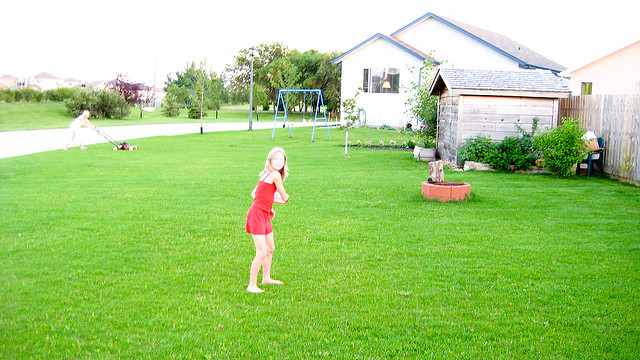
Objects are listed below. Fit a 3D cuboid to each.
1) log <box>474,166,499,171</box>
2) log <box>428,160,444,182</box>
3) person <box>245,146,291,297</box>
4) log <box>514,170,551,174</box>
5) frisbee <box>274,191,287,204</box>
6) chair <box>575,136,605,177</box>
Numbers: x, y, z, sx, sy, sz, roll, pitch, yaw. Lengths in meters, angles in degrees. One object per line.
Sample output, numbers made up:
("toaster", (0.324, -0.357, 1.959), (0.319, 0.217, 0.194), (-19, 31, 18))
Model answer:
("log", (6.368, -0.464, 16.869), (0.756, 0.129, 0.166), (3, 15, 9))
("log", (3.345, -0.266, 12.951), (0.531, 0.894, 0.609), (-1, 3, 8))
("person", (-0.949, 0.722, 7.811), (0.581, 2.473, 0.966), (8, 16, 27))
("log", (8.017, -0.337, 16.475), (1.260, 0.093, 0.206), (0, 15, 0))
("frisbee", (-0.717, 0.310, 7.834), (0.189, 0.258, 0.152), (0, 15, -2))
("chair", (9.863, -0.863, 15.780), (0.876, 1.409, 0.686), (-3, 15, -12))
